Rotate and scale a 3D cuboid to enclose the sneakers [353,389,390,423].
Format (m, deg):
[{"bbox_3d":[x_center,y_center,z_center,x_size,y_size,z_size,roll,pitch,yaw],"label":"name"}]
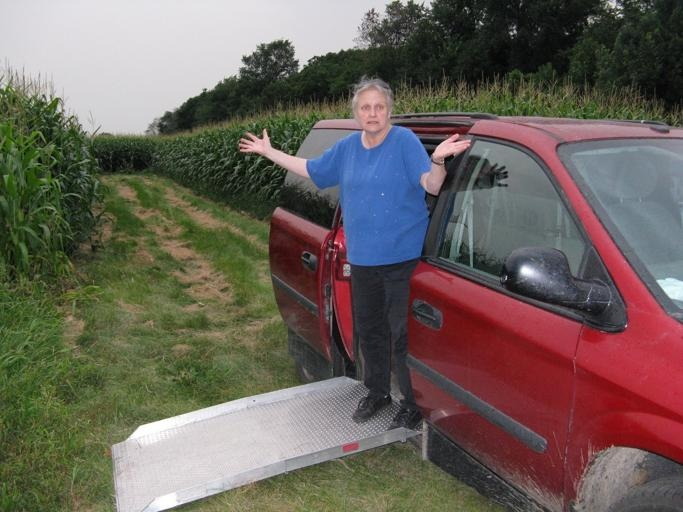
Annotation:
[{"bbox_3d":[0.194,0.959,3.340,0.332,0.134,0.108,-18,7,-44],"label":"sneakers"}]
